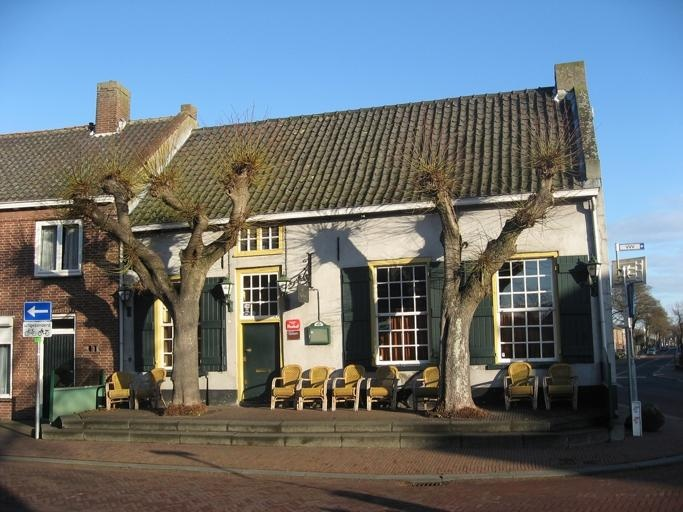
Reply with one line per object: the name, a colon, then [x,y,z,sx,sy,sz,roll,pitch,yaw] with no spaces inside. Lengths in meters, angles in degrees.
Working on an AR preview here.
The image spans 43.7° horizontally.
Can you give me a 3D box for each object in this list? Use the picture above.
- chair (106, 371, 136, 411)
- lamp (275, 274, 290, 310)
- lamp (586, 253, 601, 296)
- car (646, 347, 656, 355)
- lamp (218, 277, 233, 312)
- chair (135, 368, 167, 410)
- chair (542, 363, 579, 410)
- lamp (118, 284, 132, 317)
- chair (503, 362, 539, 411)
chair: [-5.730,3.489,22.143,0.763,0.989,0.792,1,-13,-22]
lamp: [-1.497,0.949,22.051,0.299,0.863,0.620,-1,-10,-4]
lamp: [6.003,0.508,20.276,0.286,0.867,0.451,-5,-11,17]
car: [33.242,10.341,91.848,0.921,0.761,2.264,1,5,15]
lamp: [-3.010,0.996,22.301,0.348,0.887,0.482,0,-10,-7]
chair: [-4.970,3.458,22.228,0.829,1.020,0.853,6,-10,-42]
chair: [5.172,3.050,20.045,0.911,1.100,0.941,-9,-14,41]
lamp: [-5.798,1.230,22.989,0.341,0.801,0.220,-5,-11,19]
chair: [4.285,3.111,20.357,0.779,1.152,0.752,-4,-11,13]
